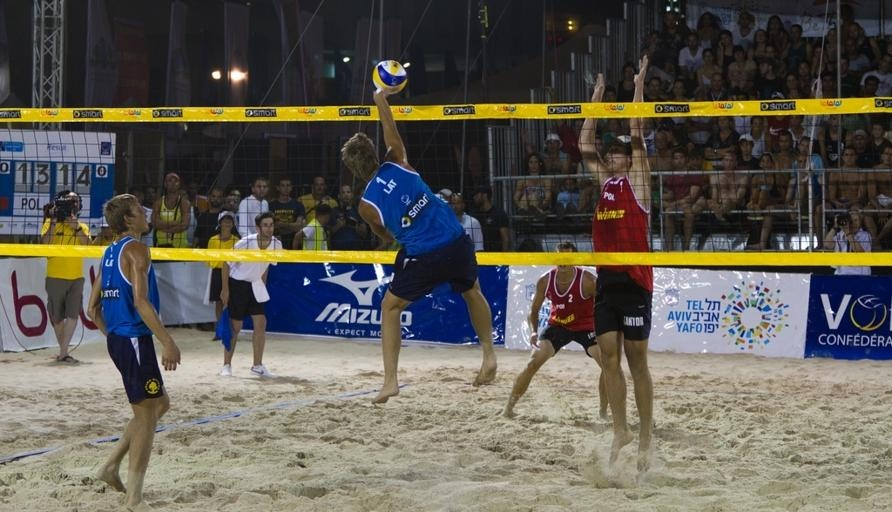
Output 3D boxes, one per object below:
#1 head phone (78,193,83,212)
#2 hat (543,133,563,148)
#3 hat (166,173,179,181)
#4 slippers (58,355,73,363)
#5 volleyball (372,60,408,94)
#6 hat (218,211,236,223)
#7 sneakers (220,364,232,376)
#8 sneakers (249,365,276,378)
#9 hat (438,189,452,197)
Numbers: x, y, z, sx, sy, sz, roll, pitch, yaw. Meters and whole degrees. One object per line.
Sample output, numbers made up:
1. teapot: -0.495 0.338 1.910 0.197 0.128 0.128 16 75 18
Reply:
1. head phone: -5.901 -0.826 15.328 0.059 0.252 0.254 -1 3 -12
2. hat: 2.008 -2.119 17.655 0.399 0.171 0.516 0 -2 3
3. hat: -4.857 -1.403 16.973 0.160 0.121 0.158 1 -5 -12
4. slippers: -6.222 1.695 15.580 0.281 0.093 0.109 -1 2 9
5. volleyball: -0.697 -2.262 12.062 0.416 0.409 0.407 -2 -34 -17
6. hat: -3.627 -0.659 15.768 0.242 0.198 0.309 -1 -3 1
7. sneakers: -3.449 1.805 14.967 0.194 0.189 0.447 3 -1 -12
8. sneakers: -2.876 1.831 15.048 0.410 0.170 0.145 11 12 -17
9. hat: -0.011 -1.065 16.267 0.172 0.121 0.172 1 4 8
